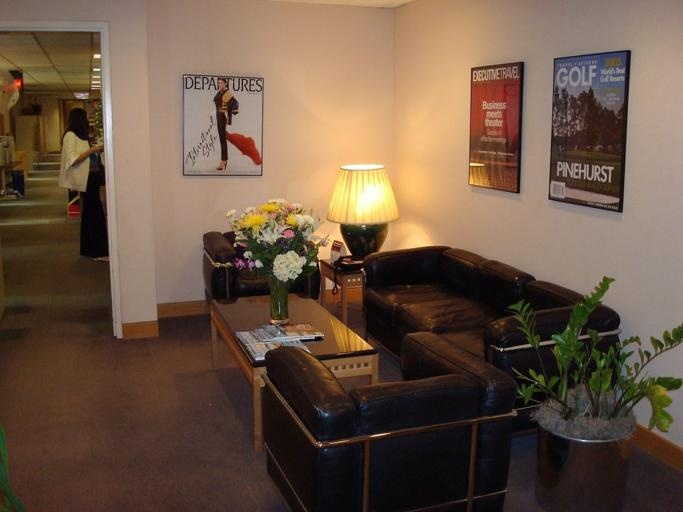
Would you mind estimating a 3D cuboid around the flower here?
[{"bbox_3d":[-0.535,-0.007,4.176,0.820,0.975,0.851,-3,9,-16],"label":"flower"}]

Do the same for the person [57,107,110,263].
[{"bbox_3d":[-3.779,-1.013,7.785,0.732,2.280,0.583,12,16,43],"label":"person"}]

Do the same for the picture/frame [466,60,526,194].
[{"bbox_3d":[1.423,-1.190,4.866,0.100,1.116,0.730,-4,13,-19],"label":"picture/frame"}]

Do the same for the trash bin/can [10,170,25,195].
[{"bbox_3d":[-9.216,-2.077,14.947,0.308,0.676,0.466,-9,16,-37],"label":"trash bin/can"}]

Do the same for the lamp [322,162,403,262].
[{"bbox_3d":[0.246,-0.507,6.059,0.803,1.082,0.851,8,23,25],"label":"lamp"}]

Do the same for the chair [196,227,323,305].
[{"bbox_3d":[-1.063,0.185,5.520,0.945,0.656,0.762,-2,6,-23],"label":"chair"}]

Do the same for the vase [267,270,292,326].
[{"bbox_3d":[-0.476,0.333,4.075,0.212,0.397,0.234,1,0,44],"label":"vase"}]

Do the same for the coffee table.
[{"bbox_3d":[-0.358,1.046,3.935,0.785,0.607,1.598,-3,13,-19],"label":"coffee table"}]
